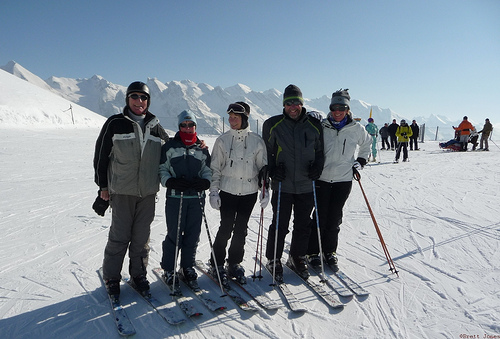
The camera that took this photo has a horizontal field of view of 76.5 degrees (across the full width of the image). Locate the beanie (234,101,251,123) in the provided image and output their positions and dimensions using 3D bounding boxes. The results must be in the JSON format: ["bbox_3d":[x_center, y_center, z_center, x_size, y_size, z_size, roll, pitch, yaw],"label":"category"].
[{"bbox_3d":[-0.131,-1.049,5.859,0.251,0.343,0.297,1,40,15],"label":"beanie"}]

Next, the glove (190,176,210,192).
[{"bbox_3d":[-0.860,0.278,5.613,0.326,0.259,0.281,-3,13,-9],"label":"glove"}]

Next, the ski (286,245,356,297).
[{"bbox_3d":[1.451,1.905,6.224,0.215,0.175,1.946,-9,25,-14],"label":"ski"}]

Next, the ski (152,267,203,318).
[{"bbox_3d":[-1.263,2.202,5.551,0.251,0.148,1.810,-6,19,-28],"label":"ski"}]

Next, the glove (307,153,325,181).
[{"bbox_3d":[1.273,-0.034,5.998,0.154,0.460,0.318,12,1,-1],"label":"glove"}]

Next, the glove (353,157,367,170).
[{"bbox_3d":[2.218,-0.091,6.392,0.202,0.245,0.275,0,-21,10],"label":"glove"}]

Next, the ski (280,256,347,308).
[{"bbox_3d":[1.176,2.149,6.143,0.285,0.178,2.129,-3,17,-18],"label":"ski"}]

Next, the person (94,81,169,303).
[{"bbox_3d":[-2.040,0.360,5.535,1.245,3.631,0.833,-9,15,-33],"label":"person"}]

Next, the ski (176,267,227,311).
[{"bbox_3d":[-0.785,2.176,5.574,0.209,0.112,1.302,-4,19,-35],"label":"ski"}]

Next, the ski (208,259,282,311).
[{"bbox_3d":[-0.096,2.146,5.775,0.146,0.118,1.387,-6,32,-38],"label":"ski"}]

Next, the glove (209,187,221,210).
[{"bbox_3d":[-0.622,0.542,5.740,0.123,0.361,0.251,-20,-7,42],"label":"glove"}]

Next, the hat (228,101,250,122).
[{"bbox_3d":[-0.175,-1.096,5.870,0.268,0.374,0.317,-4,20,22],"label":"hat"}]

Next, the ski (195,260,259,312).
[{"bbox_3d":[-0.418,2.156,5.752,0.164,0.082,1.447,-11,33,-34],"label":"ski"}]

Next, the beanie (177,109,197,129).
[{"bbox_3d":[-1.101,-0.911,5.536,0.230,0.258,0.298,-1,7,0],"label":"beanie"}]

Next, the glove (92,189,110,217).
[{"bbox_3d":[-2.561,0.577,5.491,0.373,0.387,0.148,24,-3,-21],"label":"glove"}]

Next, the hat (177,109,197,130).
[{"bbox_3d":[-1.092,-0.922,5.655,0.229,0.257,0.297,-1,4,0],"label":"hat"}]

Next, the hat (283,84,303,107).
[{"bbox_3d":[0.812,-1.378,5.890,0.370,0.362,0.226,1,13,7],"label":"hat"}]

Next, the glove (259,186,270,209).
[{"bbox_3d":[0.280,0.553,6.113,0.122,0.337,0.238,8,-1,-40],"label":"glove"}]

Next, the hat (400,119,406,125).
[{"bbox_3d":[7.853,-2.411,16.172,0.193,0.268,0.149,2,2,-35],"label":"hat"}]

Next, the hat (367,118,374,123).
[{"bbox_3d":[6.587,-2.669,17.251,0.258,0.192,0.362,-1,2,7],"label":"hat"}]

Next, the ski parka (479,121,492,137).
[{"bbox_3d":[15.207,-2.547,20.320,0.568,0.942,0.788,9,16,37],"label":"ski parka"}]

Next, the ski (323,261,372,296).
[{"bbox_3d":[1.881,2.058,5.981,0.187,0.091,1.122,-3,16,-19],"label":"ski"}]

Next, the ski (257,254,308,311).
[{"bbox_3d":[0.566,2.124,6.051,0.283,0.117,2.064,1,21,-19],"label":"ski"}]

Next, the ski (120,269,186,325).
[{"bbox_3d":[-1.664,2.236,5.453,0.198,0.150,1.727,-12,27,-38],"label":"ski"}]
